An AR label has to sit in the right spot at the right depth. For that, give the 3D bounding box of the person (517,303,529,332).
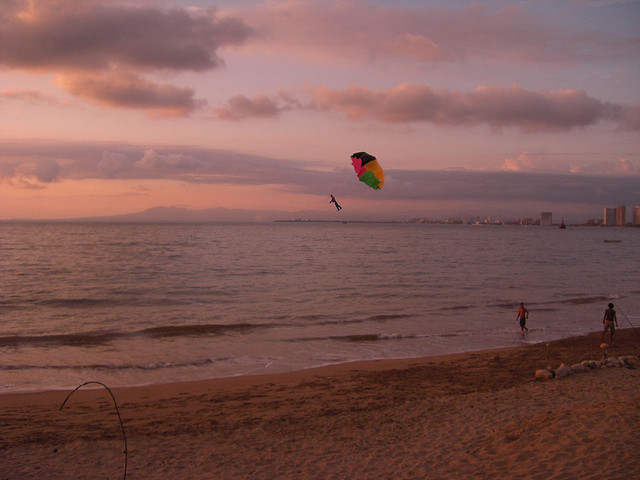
[{"bbox_3d":[10.742,4.028,30.964,0.404,1.339,1.475,-5,4,19],"label":"person"}]

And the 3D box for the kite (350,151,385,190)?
[{"bbox_3d":[2.414,-3.618,30.384,1.396,1.881,0.836,-4,5,14],"label":"kite"}]
